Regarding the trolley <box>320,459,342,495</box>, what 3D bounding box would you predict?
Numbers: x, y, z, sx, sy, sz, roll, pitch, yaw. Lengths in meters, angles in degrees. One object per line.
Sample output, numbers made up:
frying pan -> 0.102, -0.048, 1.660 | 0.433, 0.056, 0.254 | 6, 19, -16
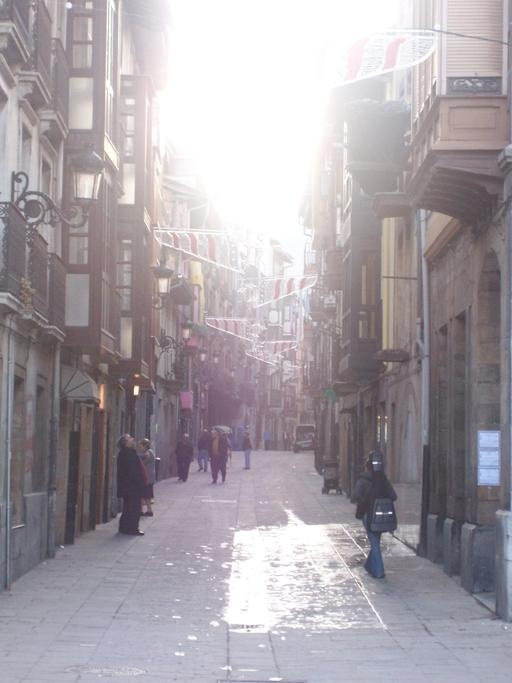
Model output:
trolley -> 1.964, 3.586, 28.393 | 0.374, 1.031, 0.802 | 0, -7, 0

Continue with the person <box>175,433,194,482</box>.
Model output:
person -> -2.190, 3.565, 33.062 | 0.350, 1.629, 0.414 | 1, 17, -7

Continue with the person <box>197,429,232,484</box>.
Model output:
person -> -1.370, 3.826, 35.459 | 1.005, 1.366, 2.988 | 9, -8, 0

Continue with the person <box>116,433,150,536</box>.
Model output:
person -> -2.137, 2.470, 18.520 | 0.472, 1.741, 1.033 | 0, -9, -8

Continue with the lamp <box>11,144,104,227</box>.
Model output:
lamp -> -2.295, -1.689, 12.392 | 1.048, 0.570, 1.491 | 12, 35, -12

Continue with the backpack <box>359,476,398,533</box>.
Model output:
backpack -> 1.634, 2.037, 13.800 | 0.337, 0.786, 0.624 | 0, 7, 10
